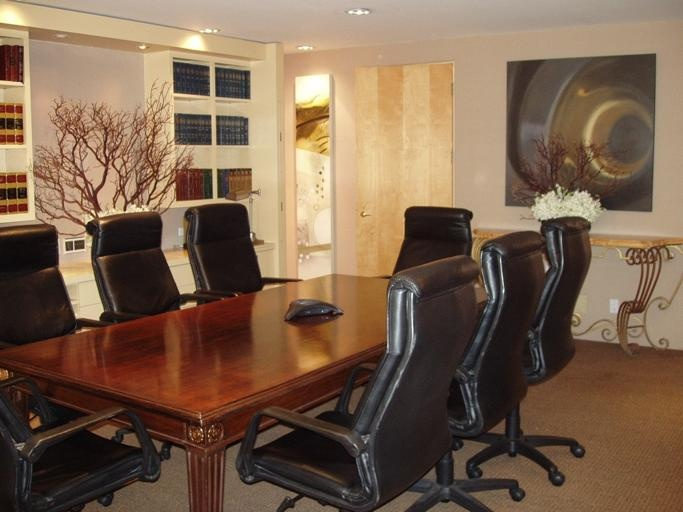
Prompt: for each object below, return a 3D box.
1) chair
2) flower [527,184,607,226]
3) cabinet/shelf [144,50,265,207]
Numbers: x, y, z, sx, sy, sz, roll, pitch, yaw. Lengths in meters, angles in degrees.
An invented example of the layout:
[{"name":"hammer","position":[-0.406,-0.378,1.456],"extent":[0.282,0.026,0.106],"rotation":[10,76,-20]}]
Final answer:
[{"name":"chair","position":[-0.283,0.532,2.888],"extent":[1.509,1.030,1.852],"rotation":[0,4,37]},{"name":"flower","position":[2.169,-0.500,4.996],"extent":[0.692,0.468,0.664],"rotation":[2,-1,-11]},{"name":"cabinet/shelf","position":[-1.578,-1.460,6.201],"extent":[0.317,1.662,1.279],"rotation":[8,13,40]}]
